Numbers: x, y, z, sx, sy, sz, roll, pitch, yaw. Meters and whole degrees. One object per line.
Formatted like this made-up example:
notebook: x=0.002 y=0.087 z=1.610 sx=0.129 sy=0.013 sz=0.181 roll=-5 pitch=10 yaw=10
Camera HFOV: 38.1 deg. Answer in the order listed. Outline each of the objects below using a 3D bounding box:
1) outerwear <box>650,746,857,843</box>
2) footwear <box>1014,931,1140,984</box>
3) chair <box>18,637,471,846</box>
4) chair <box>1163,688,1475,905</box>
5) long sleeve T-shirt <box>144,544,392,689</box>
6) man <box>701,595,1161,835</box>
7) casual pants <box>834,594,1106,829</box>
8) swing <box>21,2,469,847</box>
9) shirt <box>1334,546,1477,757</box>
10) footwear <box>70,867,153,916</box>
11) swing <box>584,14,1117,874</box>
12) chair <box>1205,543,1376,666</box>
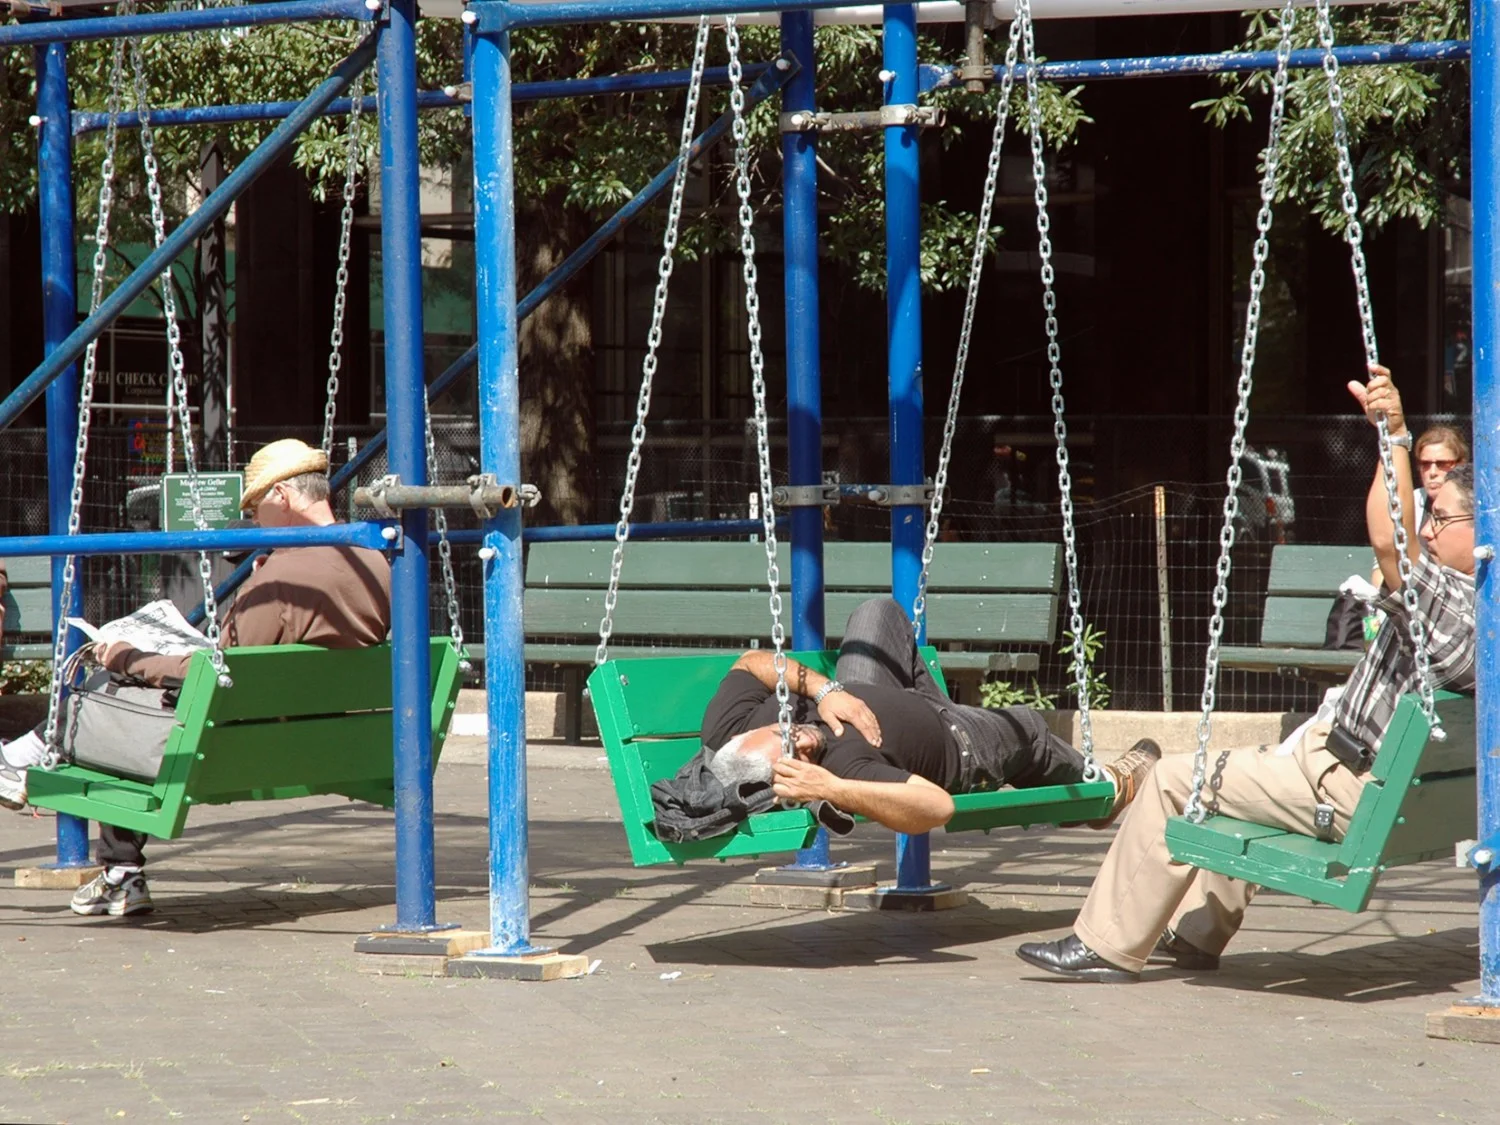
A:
outerwear: x=-0.077 y=0.745 z=7.548 sx=0.477 sy=0.137 sz=0.341 roll=-10 pitch=19 yaw=-28
footwear: x=1.140 y=1.350 z=7.574 sx=0.402 sy=0.177 sz=0.158 roll=9 pitch=-3 yaw=17
chair: x=-2.010 y=0.451 z=8.694 sx=1.605 sy=0.857 sz=1.131 roll=-4 pitch=30 yaw=-10
chair: x=1.915 y=0.718 z=7.231 sx=0.491 sy=0.765 sz=0.806 roll=18 pitch=12 yaw=31
long sleeve T-shirt: x=-1.887 y=0.136 z=8.609 sx=0.773 sy=0.319 sz=0.575 roll=-15 pitch=-4 yaw=25
man: x=0.690 y=0.642 z=8.262 sx=2.088 sy=0.745 sz=0.978 roll=-4 pitch=14 yaw=-41
casual pants: x=0.922 y=0.525 z=8.273 sx=0.975 sy=0.639 sz=0.946 roll=2 pitch=4 yaw=18
swing: x=-2.145 y=-0.428 z=8.258 sx=2.197 sy=3.323 sz=1.103 roll=2 pitch=3 yaw=35
shirt: x=2.222 y=0.309 z=7.316 sx=0.444 sy=0.743 sz=0.615 roll=22 pitch=7 yaw=14
footwear: x=-2.545 y=1.324 z=8.690 sx=0.336 sy=0.165 sz=0.150 roll=1 pitch=-1 yaw=1
swing: x=-0.100 y=-0.429 z=8.802 sx=1.205 sy=3.233 sz=2.184 roll=4 pitch=-7 yaw=-5
chair: x=3.204 y=0.263 z=12.611 sx=0.568 sy=0.734 sz=1.003 roll=2 pitch=-1 yaw=-23
